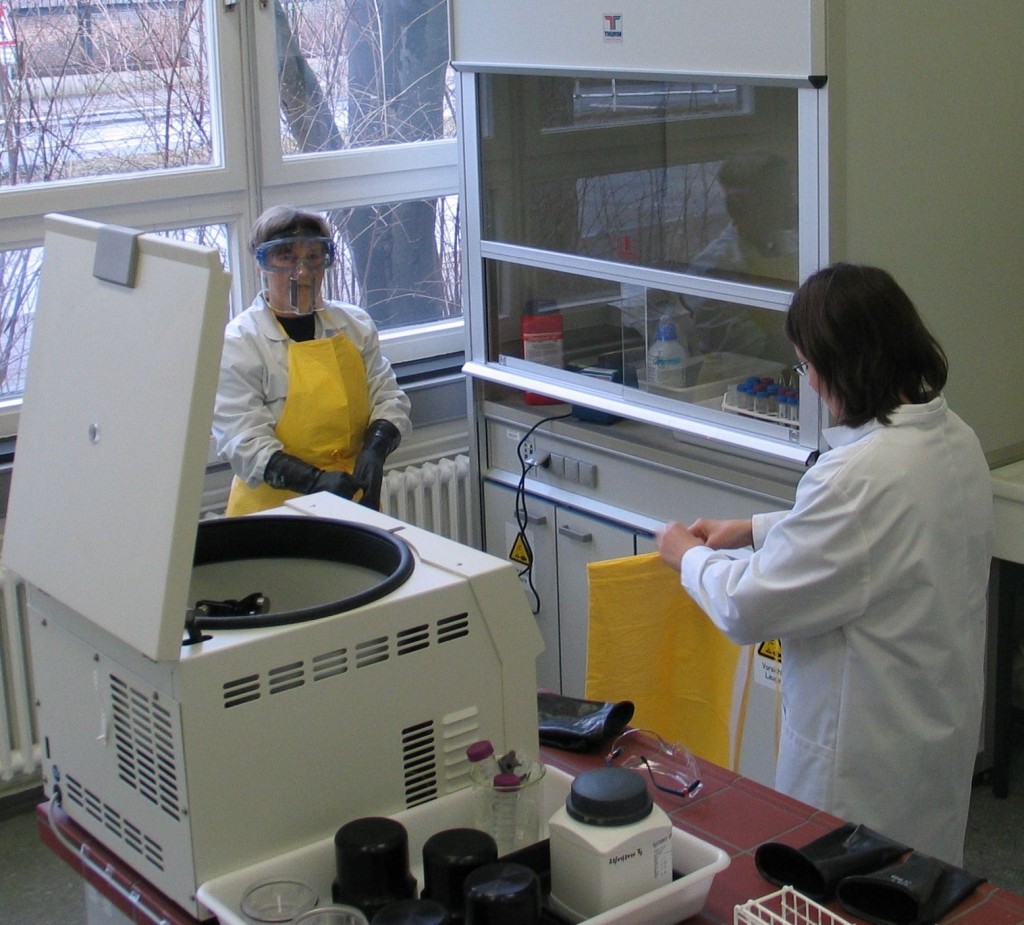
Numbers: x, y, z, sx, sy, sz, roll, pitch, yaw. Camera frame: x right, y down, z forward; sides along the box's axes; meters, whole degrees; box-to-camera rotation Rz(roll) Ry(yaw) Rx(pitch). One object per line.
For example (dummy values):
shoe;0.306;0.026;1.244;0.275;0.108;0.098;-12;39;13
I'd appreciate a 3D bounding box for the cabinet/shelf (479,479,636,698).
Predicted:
cabinet/shelf;0.132;0.288;2.362;0.196;0.555;0.517;-5;10;-36

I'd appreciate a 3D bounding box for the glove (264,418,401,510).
glove;-0.471;0.031;2.661;0.376;0.239;0.246;-4;14;-17
